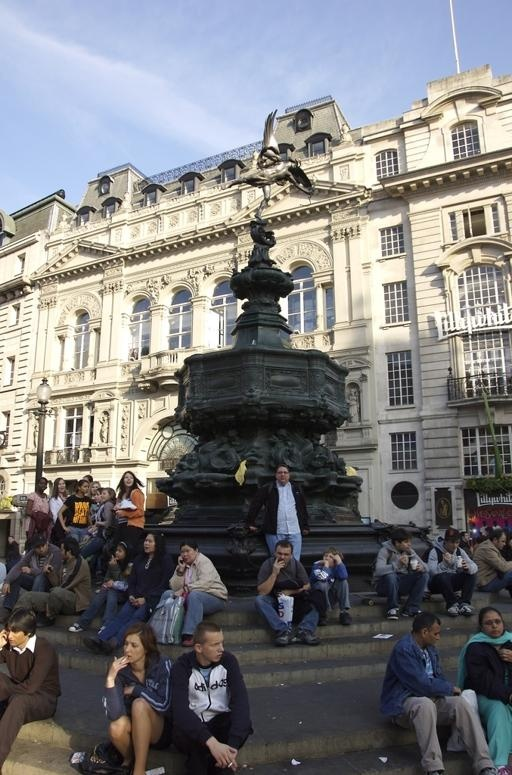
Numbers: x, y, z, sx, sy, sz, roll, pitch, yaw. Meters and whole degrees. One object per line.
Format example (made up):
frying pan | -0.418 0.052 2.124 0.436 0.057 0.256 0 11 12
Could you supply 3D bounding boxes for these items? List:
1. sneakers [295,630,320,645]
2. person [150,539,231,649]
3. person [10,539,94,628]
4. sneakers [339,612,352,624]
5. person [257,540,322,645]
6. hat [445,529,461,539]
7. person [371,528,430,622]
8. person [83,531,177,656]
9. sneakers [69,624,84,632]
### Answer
sneakers | 0.485 2.395 6.437 0.229 0.100 0.083 -9 -18 28
person | -0.714 1.983 6.629 0.718 0.905 0.755 -8 -14 22
person | -2.464 2.284 7.954 0.955 0.917 0.646 3 -17 -23
sneakers | 0.935 2.424 7.092 0.127 0.127 0.219 -1 -11 7
person | 0.311 2.004 6.677 0.639 0.951 0.616 1 -11 -4
hat | 2.317 1.716 7.976 0.129 0.087 0.173 -1 -8 21
person | 1.619 2.072 7.561 0.500 0.956 0.420 6 -13 -25
person | -1.262 2.024 6.628 0.500 0.731 1.218 2 19 19
sneakers | -1.983 2.620 7.351 0.154 0.078 0.149 1 -11 -6
